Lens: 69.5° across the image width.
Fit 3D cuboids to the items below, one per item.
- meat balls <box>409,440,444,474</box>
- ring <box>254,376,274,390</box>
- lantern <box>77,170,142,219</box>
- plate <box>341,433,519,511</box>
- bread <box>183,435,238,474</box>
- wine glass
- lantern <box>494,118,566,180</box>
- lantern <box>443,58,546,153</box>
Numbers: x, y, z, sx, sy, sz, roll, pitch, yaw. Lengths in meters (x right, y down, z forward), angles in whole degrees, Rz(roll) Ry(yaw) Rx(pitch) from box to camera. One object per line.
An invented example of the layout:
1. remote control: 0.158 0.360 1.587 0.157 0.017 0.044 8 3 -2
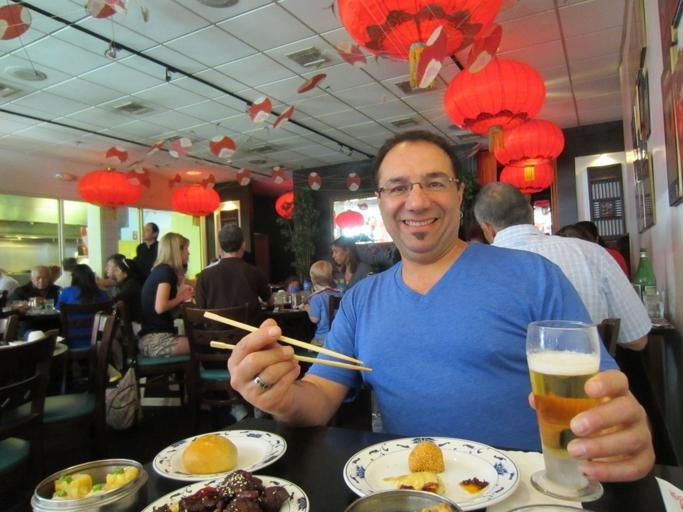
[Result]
1. meat balls: 0.247 0.555 1.388 0.105 0.063 0.102 -1 -6 0
2. ring: -0.230 0.377 1.465 0.046 0.017 0.038 30 -8 -9
3. lantern: -3.526 -0.925 7.494 0.719 0.643 0.680 -1 6 -26
4. plate: 0.227 0.582 1.323 0.446 0.087 0.301 -2 4 -8
5. bread: -0.391 0.580 1.437 0.111 0.062 0.111 0 0 33
6. wine glass: 0.554 0.386 1.231 0.170 0.429 0.098 0 5 24
7. lantern: 2.351 -1.283 6.111 0.843 0.591 0.885 1 3 20
8. lantern: 1.457 -1.418 4.842 0.803 0.729 0.769 -3 -5 0
